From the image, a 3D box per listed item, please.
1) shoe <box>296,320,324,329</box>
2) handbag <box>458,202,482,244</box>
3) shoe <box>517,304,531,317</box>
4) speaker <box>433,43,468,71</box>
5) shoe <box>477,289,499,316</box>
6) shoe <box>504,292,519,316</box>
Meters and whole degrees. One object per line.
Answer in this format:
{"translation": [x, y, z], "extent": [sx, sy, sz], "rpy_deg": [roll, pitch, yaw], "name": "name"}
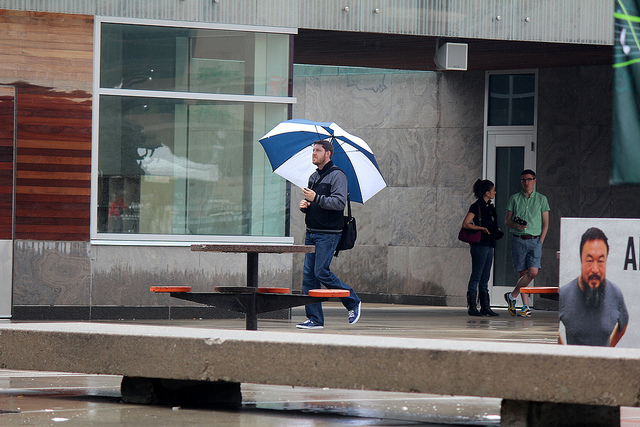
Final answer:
{"translation": [-0.151, 1.640, 21.934], "extent": [0.371, 0.137, 0.131], "rpy_deg": [4, -12, 4], "name": "shoe"}
{"translation": [2.467, 0.196, 25.294], "extent": [0.379, 0.676, 0.228], "rpy_deg": [0, -1, 1], "name": "handbag"}
{"translation": [3.342, 1.632, 25.206], "extent": [0.215, 0.195, 0.317], "rpy_deg": [0, -1, 5], "name": "shoe"}
{"translation": [2.078, -2.471, 24.299], "extent": [0.468, 0.422, 0.424], "rpy_deg": [0, -1, 0], "name": "speaker"}
{"translation": [2.789, 1.511, 25.413], "extent": [0.317, 0.436, 0.295], "rpy_deg": [0, -1, 5], "name": "shoe"}
{"translation": [3.154, 1.558, 25.336], "extent": [0.180, 0.419, 0.134], "rpy_deg": [-22, -8, 40], "name": "shoe"}
